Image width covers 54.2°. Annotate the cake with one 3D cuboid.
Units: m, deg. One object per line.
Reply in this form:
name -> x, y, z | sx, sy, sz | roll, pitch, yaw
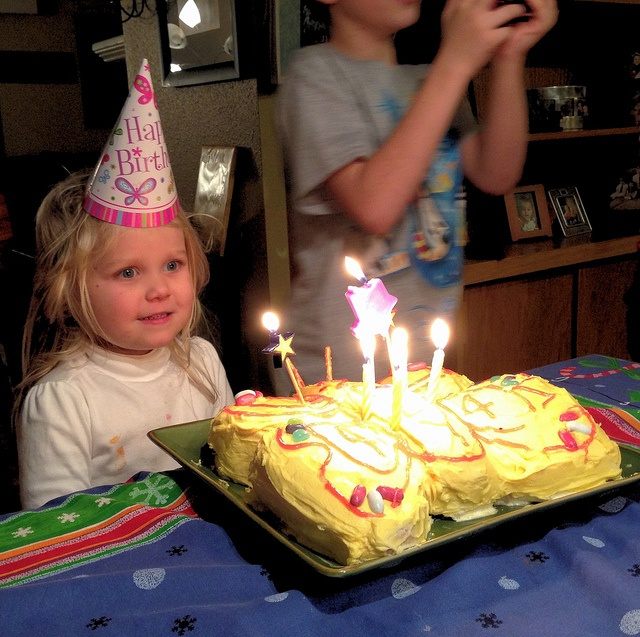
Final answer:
cake -> 0.091, 0.114, 0.801 | 0.308, 0.068, 0.289 | -4, 8, -22
